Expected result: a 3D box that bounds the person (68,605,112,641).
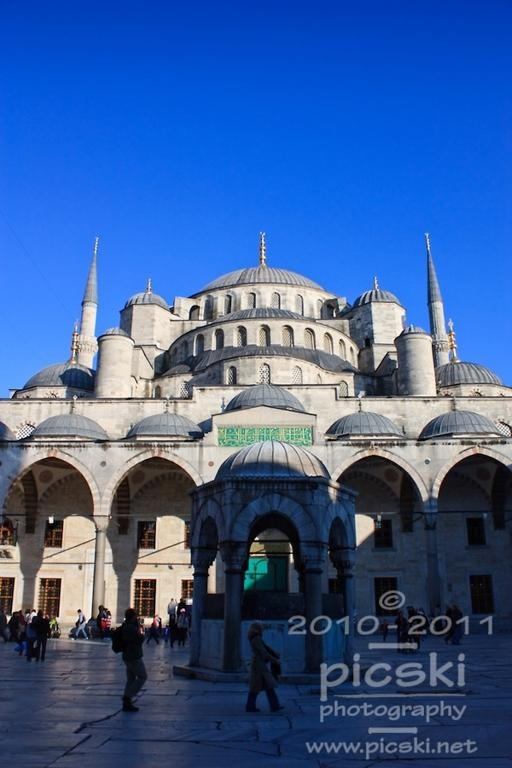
[{"bbox_3d":[-4.730,7.018,21.600,1.193,0.708,1.170,15,-28,-34],"label":"person"}]
